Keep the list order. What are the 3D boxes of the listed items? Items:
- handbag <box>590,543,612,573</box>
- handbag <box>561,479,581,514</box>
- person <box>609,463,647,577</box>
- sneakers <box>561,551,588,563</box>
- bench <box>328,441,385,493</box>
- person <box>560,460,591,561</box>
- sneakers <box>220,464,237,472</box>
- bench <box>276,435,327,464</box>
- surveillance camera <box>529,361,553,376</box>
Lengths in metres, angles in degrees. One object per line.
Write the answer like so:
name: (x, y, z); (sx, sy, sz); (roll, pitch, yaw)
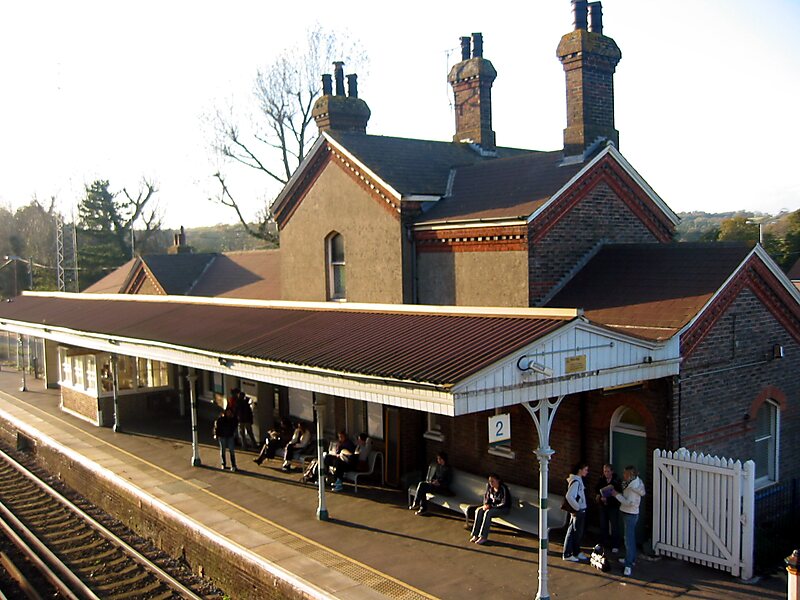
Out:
handbag: (4.470, 5.718, 23.723); (0.330, 0.597, 0.564); (2, -7, -20)
handbag: (3.795, 4.428, 24.143); (0.147, 0.632, 0.596); (5, -2, 3)
person: (4.998, 4.858, 23.709); (0.639, 2.338, 0.721); (3, -5, 8)
sneakers: (3.893, 5.739, 23.976); (0.540, 0.254, 0.209); (-4, 6, -6)
bench: (-1.219, 4.441, 28.010); (0.756, 0.960, 1.329); (7, -6, -37)
person: (3.963, 4.774, 24.301); (0.519, 2.179, 0.887); (3, -5, 10)
sneakers: (-4.672, 4.634, 29.495); (0.167, 0.254, 0.545); (-6, 1, -44)
bench: (-2.717, 4.130, 29.451); (0.805, 1.050, 0.795); (4, -4, -4)
surveillance camera: (2.933, 1.470, 22.491); (0.396, 0.259, 0.110); (25, -5, -15)
